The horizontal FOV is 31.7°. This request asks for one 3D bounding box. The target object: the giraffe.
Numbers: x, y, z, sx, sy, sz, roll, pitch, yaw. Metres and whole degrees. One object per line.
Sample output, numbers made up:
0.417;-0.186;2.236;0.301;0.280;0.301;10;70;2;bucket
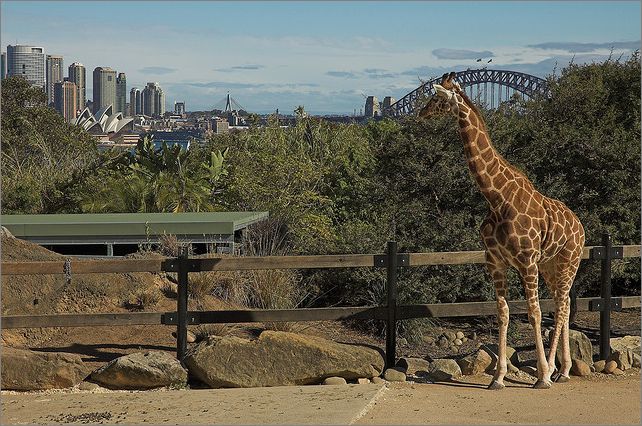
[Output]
3.993;0.364;23.373;2.860;6.396;1.223;2;6;12;giraffe
